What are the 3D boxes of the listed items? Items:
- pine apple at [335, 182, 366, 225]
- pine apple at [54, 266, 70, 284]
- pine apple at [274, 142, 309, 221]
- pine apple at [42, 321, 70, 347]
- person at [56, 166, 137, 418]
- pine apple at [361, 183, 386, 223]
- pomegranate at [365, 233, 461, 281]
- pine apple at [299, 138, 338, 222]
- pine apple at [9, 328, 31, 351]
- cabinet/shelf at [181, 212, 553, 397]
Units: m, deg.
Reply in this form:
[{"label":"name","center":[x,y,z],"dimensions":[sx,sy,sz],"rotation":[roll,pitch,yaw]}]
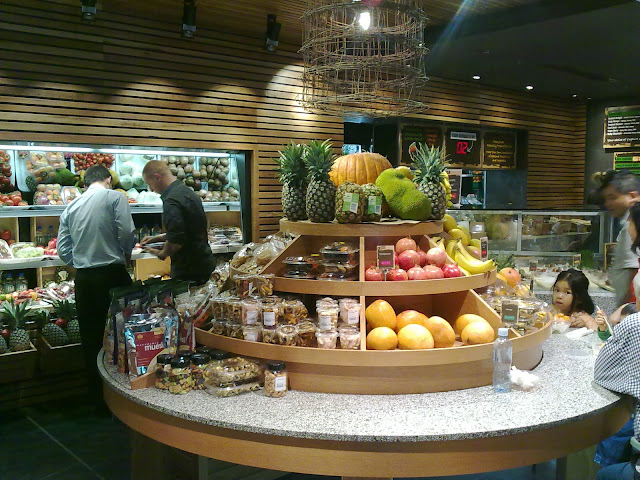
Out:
[{"label":"pine apple","center":[0.173,-0.247,2.995],"dimensions":[0.209,0.256,0.208],"rotation":[0,-4,33]},{"label":"pine apple","center":[-2.925,0.396,5.452],"dimensions":[0.159,0.171,0.052],"rotation":[9,-13,-40]},{"label":"pine apple","center":[-0.164,-0.392,3.219],"dimensions":[0.214,0.503,0.199],"rotation":[-8,17,-38]},{"label":"pine apple","center":[-2.682,0.961,4.863],"dimensions":[0.297,0.135,0.159],"rotation":[24,11,34]},{"label":"person","center":[-2.080,0.417,4.729],"dimensions":[0.847,2.148,0.903],"rotation":[0,2,-28]},{"label":"pine apple","center":[0.323,-0.222,2.954],"dimensions":[0.237,0.269,0.210],"rotation":[-1,-1,3]},{"label":"pomegranate","center":[0.541,0.081,2.931],"dimensions":[0.513,0.252,0.353],"rotation":[-1,11,-18]},{"label":"pine apple","center":[-0.001,-0.379,3.056],"dimensions":[0.213,0.505,0.194],"rotation":[2,12,18]},{"label":"pine apple","center":[-2.968,0.994,4.737],"dimensions":[0.164,0.148,0.249],"rotation":[-1,42,-32]},{"label":"cabinet/shelf","center":[0.354,0.378,2.897],"dimensions":[1.951,0.930,0.785],"rotation":[-5,12,-12]}]
